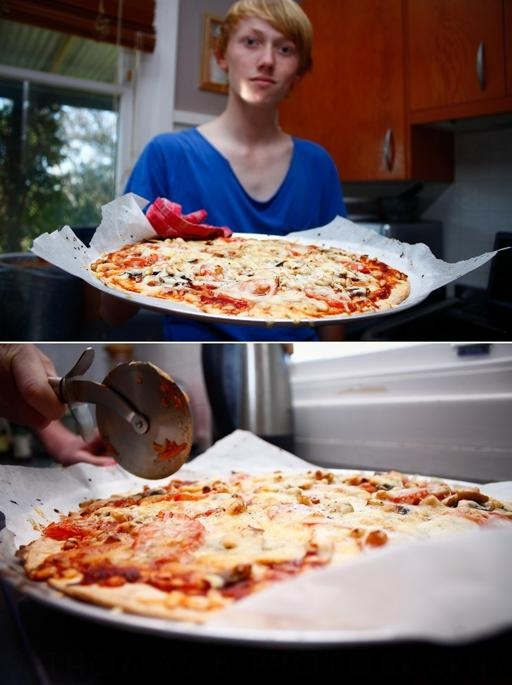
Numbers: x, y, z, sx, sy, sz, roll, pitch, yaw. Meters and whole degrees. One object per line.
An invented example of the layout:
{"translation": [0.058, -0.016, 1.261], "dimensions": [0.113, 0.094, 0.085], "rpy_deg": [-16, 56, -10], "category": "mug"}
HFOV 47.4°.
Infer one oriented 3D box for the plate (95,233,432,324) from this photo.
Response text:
{"translation": [0.001, -0.095, 0.834], "dimensions": [0.436, 0.127, 0.188], "rpy_deg": [-2, 6, 5], "category": "plate"}
